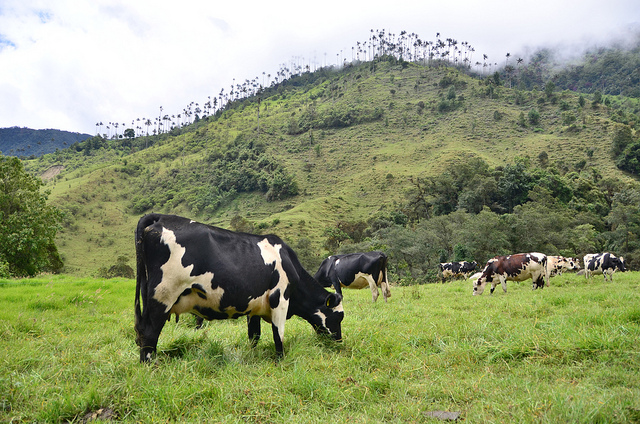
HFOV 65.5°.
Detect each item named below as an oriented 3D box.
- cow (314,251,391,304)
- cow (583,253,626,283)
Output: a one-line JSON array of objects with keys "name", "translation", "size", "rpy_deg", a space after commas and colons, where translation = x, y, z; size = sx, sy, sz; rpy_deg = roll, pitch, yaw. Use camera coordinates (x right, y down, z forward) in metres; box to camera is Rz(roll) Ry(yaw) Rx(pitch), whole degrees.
[{"name": "cow", "translation": [1.259, 3.075, 22.755], "size": [4.291, 2.341, 1.374], "rpy_deg": [-7, -1, 40]}, {"name": "cow", "translation": [14.618, 2.871, 25.694], "size": [0.935, 1.431, 2.653], "rpy_deg": [4, -5, -13]}]
